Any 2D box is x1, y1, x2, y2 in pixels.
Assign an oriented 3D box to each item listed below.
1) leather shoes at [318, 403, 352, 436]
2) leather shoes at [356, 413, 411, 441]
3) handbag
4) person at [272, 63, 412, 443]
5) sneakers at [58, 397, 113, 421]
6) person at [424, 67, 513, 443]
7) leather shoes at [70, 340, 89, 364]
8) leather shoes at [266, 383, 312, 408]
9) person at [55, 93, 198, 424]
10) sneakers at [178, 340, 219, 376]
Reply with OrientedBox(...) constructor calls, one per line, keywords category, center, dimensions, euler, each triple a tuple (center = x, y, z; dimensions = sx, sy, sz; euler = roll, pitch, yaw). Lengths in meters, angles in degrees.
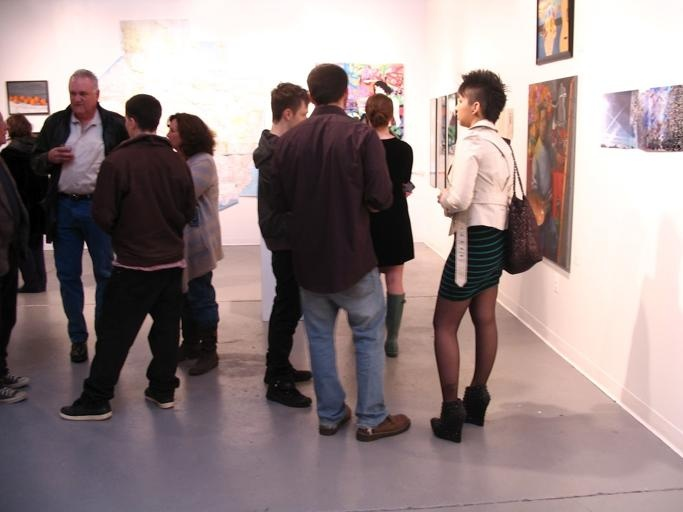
OrientedBox(category="leather shoes", center=(-0.033, 1.001, 3.189), dimensions=(0.088, 0.102, 0.263), euler=(3, 9, 18))
OrientedBox(category="leather shoes", center=(0.259, 1.018, 3.126), dimensions=(0.320, 0.121, 0.129), euler=(-8, 10, -24))
OrientedBox(category="handbag", center=(1.039, -0.255, 2.950), dimensions=(0.231, 0.803, 0.320), euler=(2, 14, 14))
OrientedBox(category="person", center=(-0.007, 0.008, 2.954), dimensions=(0.764, 2.136, 0.368), euler=(6, 15, 28))
OrientedBox(category="sneakers", center=(-1.624, 0.980, 3.374), dimensions=(0.353, 0.168, 0.131), euler=(5, 2, -5))
OrientedBox(category="person", center=(0.750, 0.003, 2.999), dimensions=(0.340, 2.085, 0.548), euler=(11, 18, 43))
OrientedBox(category="leather shoes", center=(-2.103, 0.772, 4.112), dimensions=(0.084, 0.095, 0.223), euler=(0, -1, -23))
OrientedBox(category="leather shoes", center=(-0.355, 0.937, 3.525), dimensions=(0.322, 0.140, 0.131), euler=(6, 7, 21))
OrientedBox(category="person", center=(-1.321, 0.133, 3.285), dimensions=(0.834, 1.771, 0.288), euler=(-6, 14, -19))
OrientedBox(category="sneakers", center=(-1.144, 0.791, 4.036), dimensions=(0.163, 0.302, 0.438), euler=(0, -3, 12))
